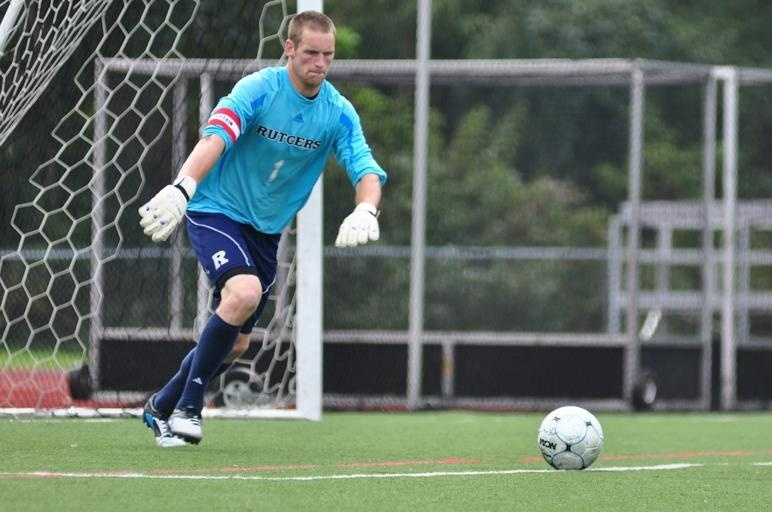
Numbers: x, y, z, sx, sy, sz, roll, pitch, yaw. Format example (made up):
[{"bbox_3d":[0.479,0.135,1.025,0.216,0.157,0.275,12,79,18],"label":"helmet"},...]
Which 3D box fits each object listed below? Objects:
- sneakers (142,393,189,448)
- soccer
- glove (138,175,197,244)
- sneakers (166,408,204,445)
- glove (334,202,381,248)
[{"bbox_3d":[-1.466,1.091,9.908,0.147,0.221,0.467,4,22,-36],"label":"sneakers"},{"bbox_3d":[1.144,1.126,9.545,0.408,0.465,0.439,4,18,-2],"label":"soccer"},{"bbox_3d":[-1.349,-0.301,9.352,0.238,0.461,0.184,33,-18,6],"label":"glove"},{"bbox_3d":[-1.311,1.095,9.737,0.211,0.226,0.129,-2,4,-6],"label":"sneakers"},{"bbox_3d":[-0.184,-0.206,9.587,0.252,0.281,0.303,-1,4,2],"label":"glove"}]
